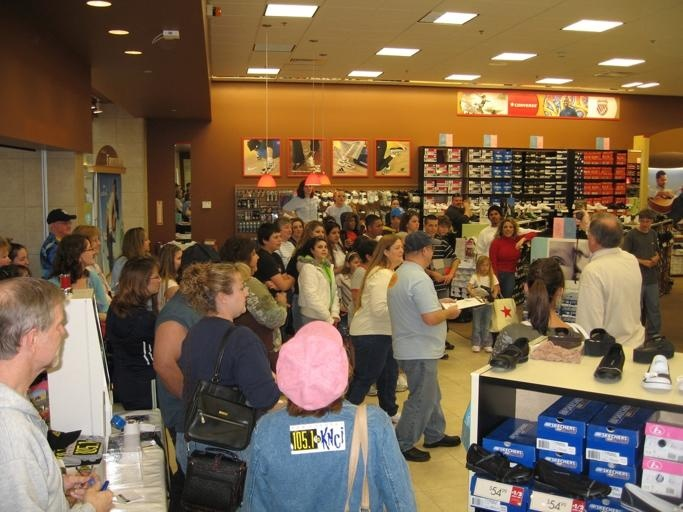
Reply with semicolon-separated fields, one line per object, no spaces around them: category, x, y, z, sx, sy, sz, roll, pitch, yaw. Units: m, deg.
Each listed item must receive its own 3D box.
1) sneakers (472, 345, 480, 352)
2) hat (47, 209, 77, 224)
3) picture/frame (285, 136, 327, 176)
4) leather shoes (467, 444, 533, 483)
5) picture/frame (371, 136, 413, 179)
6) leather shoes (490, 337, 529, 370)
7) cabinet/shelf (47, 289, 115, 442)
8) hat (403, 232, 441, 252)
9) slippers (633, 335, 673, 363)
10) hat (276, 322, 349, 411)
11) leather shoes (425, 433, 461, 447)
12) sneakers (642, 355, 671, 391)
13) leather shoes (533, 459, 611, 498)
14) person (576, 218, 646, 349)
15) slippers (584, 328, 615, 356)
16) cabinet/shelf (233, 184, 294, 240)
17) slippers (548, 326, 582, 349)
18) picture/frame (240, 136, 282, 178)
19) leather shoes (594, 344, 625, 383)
sneakers;1.820;1.245;7.859;0.077;0.049;0.121;-1;-5;10
hat;-3.107;-0.457;6.447;0.279;0.151;0.181;-13;10;-2
picture/frame;-0.820;-2.219;12.813;1.224;1.205;0.127;-1;1;-11
leather shoes;0.736;0.968;2.749;0.226;0.093;0.134;3;5;21
picture/frame;1.111;-2.264;13.250;0.974;0.939;0.100;1;-3;-14
leather shoes;0.848;0.493;2.938;0.099;0.109;0.274;-1;1;36
cabinet/shelf;-1.527;0.639;3.434;0.316;0.840;0.194;0;1;6
hat;0.633;-0.114;4.733;0.210;0.111;0.140;-20;16;-16
slippers;1.655;0.492;3.101;0.358;0.140;0.105;-8;12;-40
hat;-0.107;0.429;2.294;0.248;0.332;0.120;0;-10;5
leather shoes;0.906;1.640;5.166;0.330;0.124;0.121;-4;3;-11
sneakers;1.431;0.529;2.640;0.115;0.134;0.164;0;1;30
leather shoes;1.030;0.995;2.665;0.349;0.142;0.119;5;16;31
person;1.887;0.157;4.074;0.631;0.941;0.441;-1;1;-22
slippers;1.407;0.463;3.173;0.091;0.099;0.264;2;5;29
cabinet/shelf;-1.427;-0.837;10.683;1.314;1.238;0.430;2;-4;-1
slippers;1.205;0.449;3.109;0.140;0.047;0.140;-1;8;4
picture/frame;-1.798;-2.188;12.724;1.236;1.213;0.127;0;4;-7
leather shoes;1.308;0.523;2.840;0.101;0.088;0.287;0;25;26
